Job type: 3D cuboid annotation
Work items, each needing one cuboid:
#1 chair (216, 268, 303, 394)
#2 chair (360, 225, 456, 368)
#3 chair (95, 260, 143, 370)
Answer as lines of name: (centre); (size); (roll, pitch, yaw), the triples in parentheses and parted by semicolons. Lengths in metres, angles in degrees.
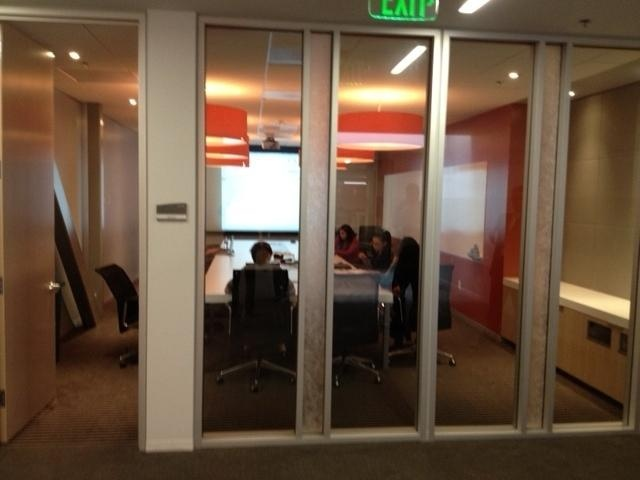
chair: (-0.471, 0.728, 4.936); (0.844, 1.167, 0.856); (1, 0, -7)
chair: (0.615, 0.422, 5.180); (1.015, 1.645, 0.985); (-1, 3, -5)
chair: (-2.220, 0.795, 6.163); (0.413, 1.036, 0.864); (-3, 12, -20)
